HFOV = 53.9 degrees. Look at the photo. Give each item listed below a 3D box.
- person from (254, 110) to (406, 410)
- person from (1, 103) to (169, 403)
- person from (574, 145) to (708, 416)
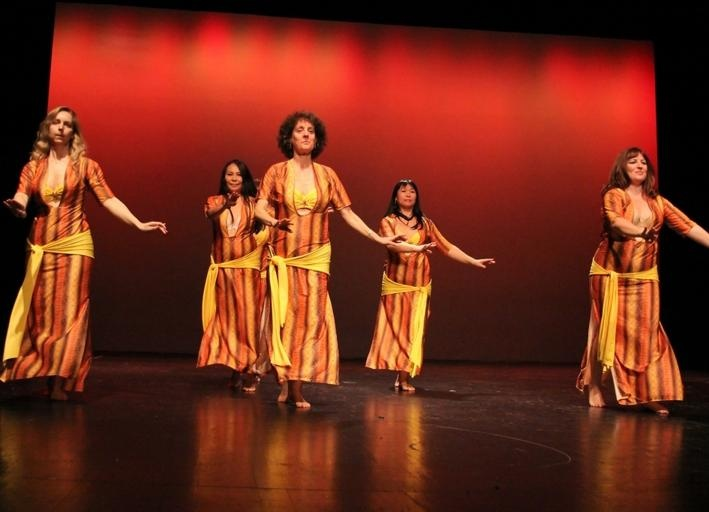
[{"bbox_3d":[-0.297,-0.011,4.510,0.695,1.928,0.544,2,-3,-7],"label":"person"},{"bbox_3d":[-1.808,0.012,4.301,0.596,1.712,0.239,3,-3,-24],"label":"person"},{"bbox_3d":[1.872,0.139,4.653,0.717,1.760,0.773,1,-3,17],"label":"person"}]
